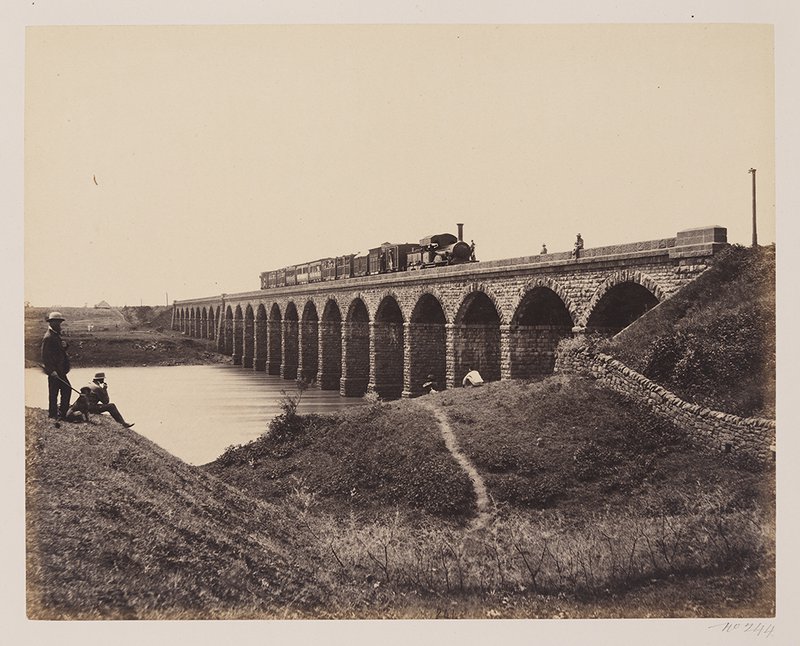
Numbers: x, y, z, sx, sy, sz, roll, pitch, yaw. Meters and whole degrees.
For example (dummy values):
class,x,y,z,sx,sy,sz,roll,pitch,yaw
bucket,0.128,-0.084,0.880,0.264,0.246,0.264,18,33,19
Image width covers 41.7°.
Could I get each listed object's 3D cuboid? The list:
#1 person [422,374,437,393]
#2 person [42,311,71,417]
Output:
class,x,y,z,sx,sy,sz,roll,pitch,yaw
person,0.932,1.935,33.094,0.520,0.449,1.331,-4,2,2
person,-6.696,0.727,20.491,0.568,2.167,1.231,3,-14,-16
